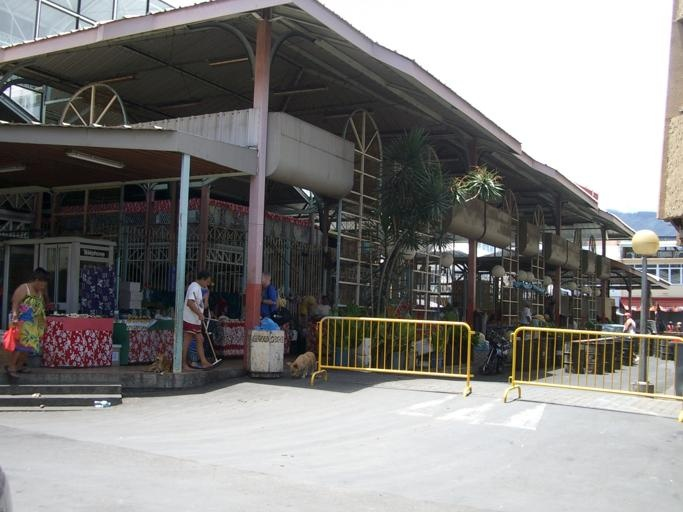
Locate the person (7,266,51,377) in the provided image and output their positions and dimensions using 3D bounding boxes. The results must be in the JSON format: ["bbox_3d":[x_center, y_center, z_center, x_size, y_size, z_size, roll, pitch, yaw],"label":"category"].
[{"bbox_3d":[-5.642,1.171,11.413,0.561,1.886,1.142,4,-7,-26],"label":"person"}]

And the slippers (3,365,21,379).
[{"bbox_3d":[-5.714,2.010,11.043,0.201,0.283,0.371,4,-7,-43],"label":"slippers"}]

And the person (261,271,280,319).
[{"bbox_3d":[-1.629,0.884,14.351,0.336,1.026,0.551,2,-7,-8],"label":"person"}]

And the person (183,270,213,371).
[{"bbox_3d":[-2.924,1.274,12.798,0.583,1.949,0.560,5,-7,-31],"label":"person"}]

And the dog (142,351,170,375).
[{"bbox_3d":[-3.537,2.065,12.279,0.485,0.380,0.394,4,-7,-18],"label":"dog"}]

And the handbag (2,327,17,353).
[{"bbox_3d":[-5.741,1.422,10.936,0.187,0.438,0.380,7,-9,-43],"label":"handbag"}]

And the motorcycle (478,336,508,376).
[{"bbox_3d":[4.120,2.597,16.880,0.397,1.018,1.054,-4,-9,42],"label":"motorcycle"}]

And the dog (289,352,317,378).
[{"bbox_3d":[-0.730,2.312,13.536,0.449,0.516,0.751,-1,-7,19],"label":"dog"}]

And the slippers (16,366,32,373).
[{"bbox_3d":[-5.704,2.035,11.360,0.254,0.123,0.091,-3,-3,16],"label":"slippers"}]

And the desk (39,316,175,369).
[{"bbox_3d":[-4.944,1.865,13.917,0.909,1.172,3.229,-1,-8,12],"label":"desk"}]
